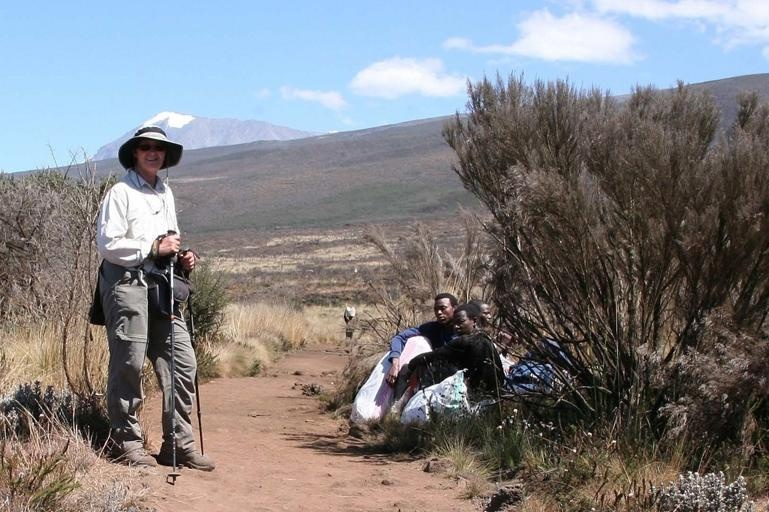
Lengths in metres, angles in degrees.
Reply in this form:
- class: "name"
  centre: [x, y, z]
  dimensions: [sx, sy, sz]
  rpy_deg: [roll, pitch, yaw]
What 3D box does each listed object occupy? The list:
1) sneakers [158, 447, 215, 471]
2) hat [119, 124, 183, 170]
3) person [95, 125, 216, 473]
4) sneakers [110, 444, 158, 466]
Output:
- class: "sneakers"
  centre: [-1.964, 2.050, 7.363]
  dimensions: [0.561, 0.267, 0.226]
  rpy_deg: [5, -4, -16]
- class: "hat"
  centre: [-2.347, -1.226, 7.428]
  dimensions: [0.508, 0.287, 0.531]
  rpy_deg: [4, -33, -29]
- class: "person"
  centre: [-2.301, 0.458, 7.198]
  dimensions: [0.775, 3.525, 0.901]
  rpy_deg: [2, 5, 40]
- class: "sneakers"
  centre: [-2.415, 1.939, 7.100]
  dimensions: [0.444, 0.215, 0.182]
  rpy_deg: [3, 2, 0]
